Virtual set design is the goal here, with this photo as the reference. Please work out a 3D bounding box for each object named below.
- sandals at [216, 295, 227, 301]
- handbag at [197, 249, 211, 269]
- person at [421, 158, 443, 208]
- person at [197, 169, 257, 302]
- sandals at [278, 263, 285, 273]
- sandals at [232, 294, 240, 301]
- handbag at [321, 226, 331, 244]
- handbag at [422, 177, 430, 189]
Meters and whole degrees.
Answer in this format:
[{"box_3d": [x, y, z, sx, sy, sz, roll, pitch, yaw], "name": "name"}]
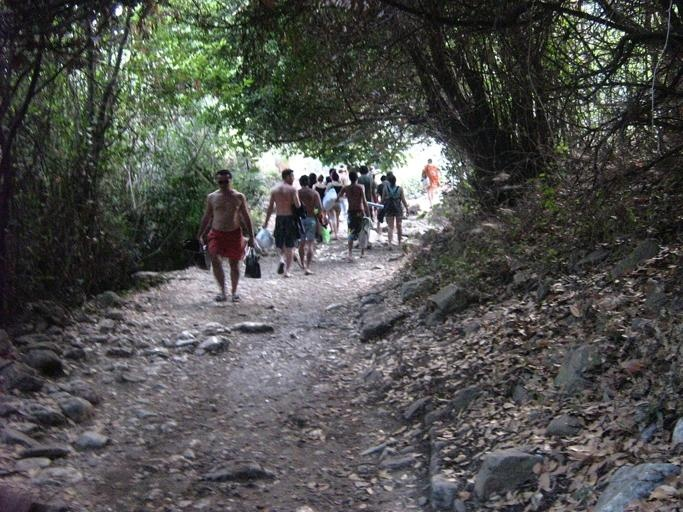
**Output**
[{"box_3d": [-1.944, 0.656, 9.179, 0.084, 0.052, 0.125, 4, 3, 11], "name": "sandals"}, {"box_3d": [-2.296, 0.032, 9.488, 0.124, 0.416, 0.270, -4, 5, 15], "name": "handbag"}, {"box_3d": [3.093, -2.568, 19.578, 0.638, 1.593, 1.462, 7, 12, 8], "name": "person"}, {"box_3d": [-1.897, -0.330, 9.243, 0.856, 2.160, 0.739, 1, 12, -17], "name": "person"}, {"box_3d": [-1.233, 0.237, 11.544, 0.097, 0.123, 0.275, 5, -33, -5], "name": "sandals"}, {"box_3d": [-1.728, 0.673, 9.309, 0.116, 0.133, 0.088, -1, 2, 24], "name": "sandals"}, {"box_3d": [-0.419, -0.559, 14.998, 0.193, 0.282, 0.526, -20, 30, -1], "name": "handbag"}, {"box_3d": [2.920, -2.548, 19.596, 0.271, 0.556, 0.280, -5, -10, 23], "name": "handbag"}]
